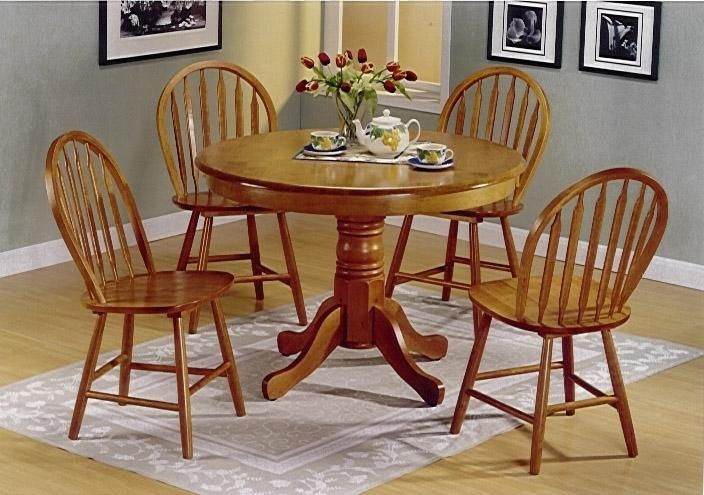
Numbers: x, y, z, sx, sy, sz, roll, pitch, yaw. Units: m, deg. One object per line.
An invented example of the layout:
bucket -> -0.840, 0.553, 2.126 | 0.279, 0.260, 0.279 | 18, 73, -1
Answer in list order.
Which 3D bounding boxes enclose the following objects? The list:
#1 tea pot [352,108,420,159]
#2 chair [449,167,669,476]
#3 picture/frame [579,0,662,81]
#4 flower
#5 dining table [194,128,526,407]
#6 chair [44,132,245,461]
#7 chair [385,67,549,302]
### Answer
tea pot -> 0.137, -0.468, 2.608 | 0.276, 0.191, 0.190 | 0, 19, 4
chair -> 0.725, 0.221, 2.303 | 0.632, 1.050, 0.592 | -2, 11, -3
picture/frame -> 1.603, -1.229, 3.734 | 0.462, 0.460, 0.034 | 13, 19, 31
flower -> 0.021, -0.683, 2.793 | 0.509, 0.276, 0.502 | -5, 16, -33
dining table -> 0.170, -0.025, 2.793 | 1.216, 0.841, 1.193 | 5, 14, 18
chair -> -0.767, 0.139, 2.341 | 0.609, 1.092, 0.521 | 7, 14, 8
chair -> 0.680, -0.307, 3.555 | 0.730, 1.244, 0.672 | -1, -9, -12
